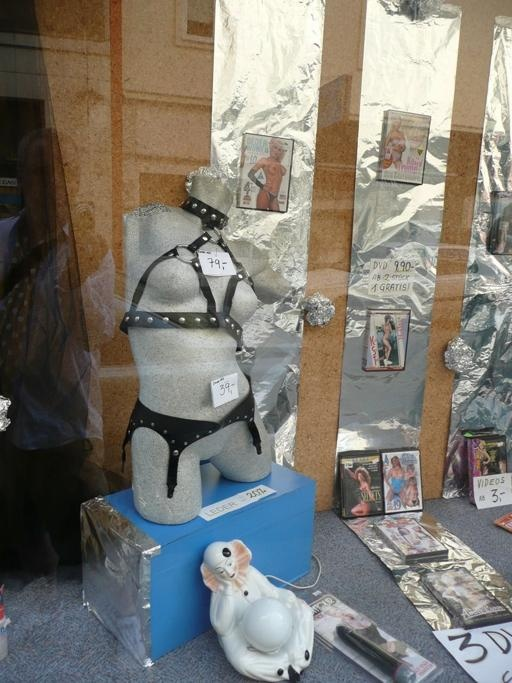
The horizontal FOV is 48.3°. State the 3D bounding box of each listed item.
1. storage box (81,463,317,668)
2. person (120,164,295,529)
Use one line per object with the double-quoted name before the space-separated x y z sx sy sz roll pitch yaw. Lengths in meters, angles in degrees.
"storage box" -0.206 0.559 1.510 0.671 0.356 0.321 -14 23 -41
"person" -0.156 0.003 1.450 0.264 0.834 0.394 15 18 37
